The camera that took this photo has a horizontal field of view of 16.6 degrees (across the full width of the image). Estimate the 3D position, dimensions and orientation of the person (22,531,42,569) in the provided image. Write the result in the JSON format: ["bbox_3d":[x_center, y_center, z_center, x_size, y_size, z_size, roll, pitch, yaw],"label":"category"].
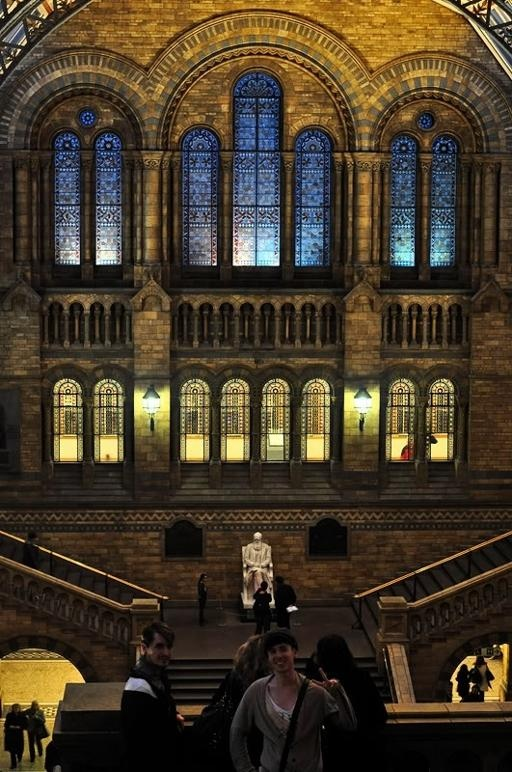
[{"bbox_3d":[-4.381,3.188,34.339,0.329,0.671,1.590,1,-2,-7],"label":"person"}]

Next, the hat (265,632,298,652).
[{"bbox_3d":[0.253,2.573,17.794,0.332,0.229,0.273,1,-2,-6],"label":"hat"}]

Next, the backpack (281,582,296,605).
[{"bbox_3d":[0.566,3.723,31.424,0.231,0.356,0.532,0,-2,5],"label":"backpack"}]

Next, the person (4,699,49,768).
[{"bbox_3d":[-4.135,6.210,31.533,0.652,1.178,1.540,0,-2,9],"label":"person"}]

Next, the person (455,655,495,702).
[{"bbox_3d":[4.085,5.488,32.807,0.696,0.839,1.807,0,-2,7],"label":"person"}]

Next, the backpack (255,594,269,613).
[{"bbox_3d":[0.112,3.973,32.193,0.322,0.373,0.209,2,-2,4],"label":"backpack"}]

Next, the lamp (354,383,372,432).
[{"bbox_3d":[2.191,0.464,35.996,0.354,0.959,0.396,0,-2,9],"label":"lamp"}]

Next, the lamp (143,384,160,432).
[{"bbox_3d":[-2.117,0.445,35.639,0.341,0.947,0.481,1,-2,-4],"label":"lamp"}]
